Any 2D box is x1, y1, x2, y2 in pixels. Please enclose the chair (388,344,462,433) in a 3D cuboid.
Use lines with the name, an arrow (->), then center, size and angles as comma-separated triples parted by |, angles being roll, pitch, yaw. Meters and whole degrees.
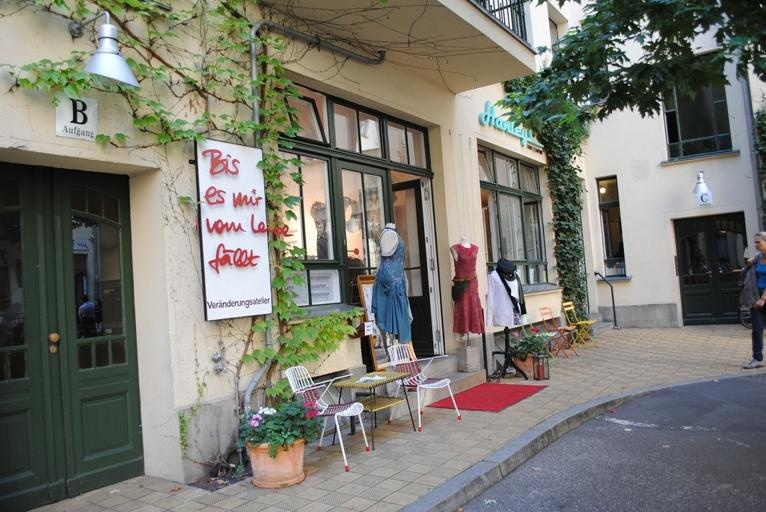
chair -> 0.734, 1.880, 8.679 | 1.103, 1.461, 0.996 | 3, -10, -44

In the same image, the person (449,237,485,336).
person -> 1.431, 0.529, 9.960 | 0.509, 1.601, 0.367 | -2, 4, 6

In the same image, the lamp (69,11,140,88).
lamp -> -2.956, -2.292, 6.474 | 0.781, 0.885, 0.721 | 1, 1, -25

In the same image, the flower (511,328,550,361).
flower -> 2.662, 1.614, 10.692 | 0.678, 0.496, 0.665 | 0, -5, -38

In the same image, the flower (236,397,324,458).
flower -> -1.241, 1.843, 6.787 | 0.668, 0.411, 0.665 | -5, 20, -31

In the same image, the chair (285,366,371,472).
chair -> -0.698, 1.952, 7.256 | 0.866, 1.180, 0.815 | -7, -3, 14

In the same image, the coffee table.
coffee table -> -0.074, 2.039, 7.872 | 0.693, 0.784, 1.001 | -7, -5, -26

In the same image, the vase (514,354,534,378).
vase -> 2.525, 1.967, 10.464 | 0.339, 0.258, 0.345 | -1, 0, 17

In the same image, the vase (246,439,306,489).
vase -> -1.182, 2.350, 6.569 | 0.541, 0.391, 0.540 | 0, -10, -6

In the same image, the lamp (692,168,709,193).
lamp -> 8.115, -1.895, 14.849 | 0.286, 0.636, 0.334 | 0, 4, 28

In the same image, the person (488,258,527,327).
person -> 2.179, 0.635, 10.660 | 0.608, 1.239, 0.693 | -3, -1, -5

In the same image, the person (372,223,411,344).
person -> 0.101, 0.461, 8.862 | 0.293, 1.880, 1.056 | -8, -5, 37
